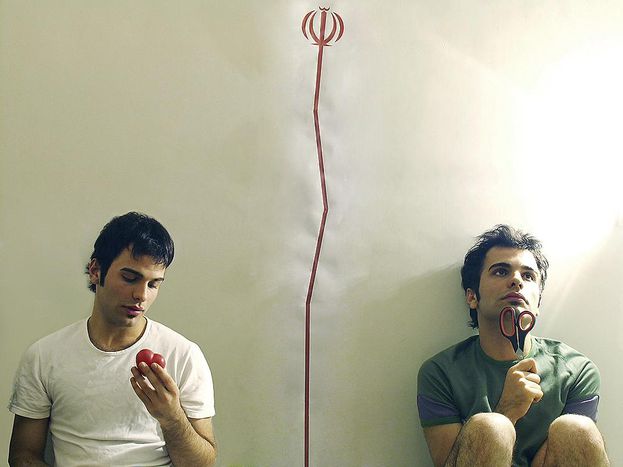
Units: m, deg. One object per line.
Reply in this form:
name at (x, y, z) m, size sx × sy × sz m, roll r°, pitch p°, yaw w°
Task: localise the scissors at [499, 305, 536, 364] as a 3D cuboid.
scissors at (0.784, 0.407, 2.488) m, size 0.141 × 0.019 × 0.325 m, roll -13°, pitch -73°, yaw -6°
